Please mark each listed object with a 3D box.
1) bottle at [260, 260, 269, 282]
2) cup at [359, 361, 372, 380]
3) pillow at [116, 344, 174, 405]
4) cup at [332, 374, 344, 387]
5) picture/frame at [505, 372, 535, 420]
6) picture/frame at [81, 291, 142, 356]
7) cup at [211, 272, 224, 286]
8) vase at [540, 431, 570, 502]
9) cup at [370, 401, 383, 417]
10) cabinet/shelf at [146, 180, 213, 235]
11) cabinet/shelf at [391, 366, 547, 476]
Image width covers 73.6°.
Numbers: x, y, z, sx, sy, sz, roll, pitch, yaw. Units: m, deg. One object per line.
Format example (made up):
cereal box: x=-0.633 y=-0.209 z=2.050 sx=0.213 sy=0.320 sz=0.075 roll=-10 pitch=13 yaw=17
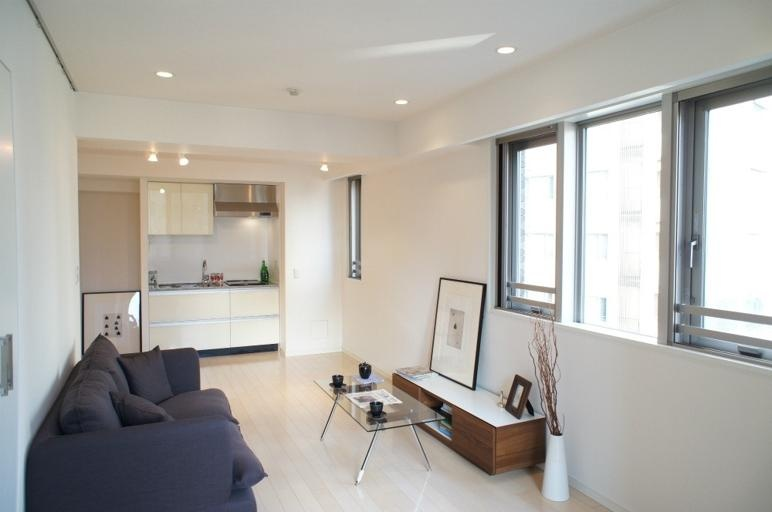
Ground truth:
bottle: x=-1.942 y=0.235 z=8.245 sx=0.150 sy=0.327 sz=0.301 roll=-2 pitch=10 yaw=-7
cup: x=-0.216 y=1.167 z=5.291 sx=0.144 sy=0.178 sz=0.144 roll=0 pitch=-2 yaw=0
pillow: x=-2.099 y=1.046 z=4.510 sx=0.208 sy=0.387 sz=0.425 roll=-6 pitch=4 yaw=19
cup: x=-0.455 y=1.191 z=5.072 sx=0.140 sy=0.127 sz=0.125 roll=0 pitch=2 yaw=-20
picture/frame: x=1.134 y=1.215 z=4.576 sx=0.219 sy=0.286 sz=0.159 roll=23 pitch=4 yaw=-24
picture/frame: x=-3.594 y=0.864 z=6.709 sx=0.829 sy=1.020 sz=0.043 roll=-1 pitch=2 yaw=-13
cup: x=-2.614 y=0.344 z=7.947 sx=0.199 sy=0.196 sz=0.105 roll=1 pitch=0 yaw=14
vase: x=1.401 y=1.670 z=4.156 sx=0.317 sy=0.499 sz=0.195 roll=-10 pitch=13 yaw=-40
cup: x=-0.080 y=1.286 z=4.397 sx=0.104 sy=0.092 sz=0.113 roll=4 pitch=3 yaw=0
cabinet/shelf: x=-3.001 y=-0.653 z=7.617 sx=0.917 sy=0.810 sz=0.317 roll=-2 pitch=-9 yaw=-15
cabinet/shelf: x=0.818 y=1.545 z=4.875 sx=0.558 sy=0.503 sz=1.350 roll=-7 pitch=11 yaw=-29
